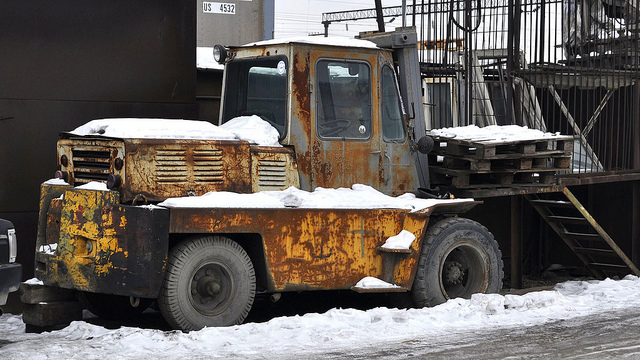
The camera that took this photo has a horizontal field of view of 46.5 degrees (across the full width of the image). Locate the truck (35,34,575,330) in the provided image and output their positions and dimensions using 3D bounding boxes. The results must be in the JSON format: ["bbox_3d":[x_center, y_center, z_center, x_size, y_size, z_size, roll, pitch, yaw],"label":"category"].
[{"bbox_3d":[-0.577,0.079,14.024,7.598,4.173,5.002,-2,2,-27],"label":"truck"}]
